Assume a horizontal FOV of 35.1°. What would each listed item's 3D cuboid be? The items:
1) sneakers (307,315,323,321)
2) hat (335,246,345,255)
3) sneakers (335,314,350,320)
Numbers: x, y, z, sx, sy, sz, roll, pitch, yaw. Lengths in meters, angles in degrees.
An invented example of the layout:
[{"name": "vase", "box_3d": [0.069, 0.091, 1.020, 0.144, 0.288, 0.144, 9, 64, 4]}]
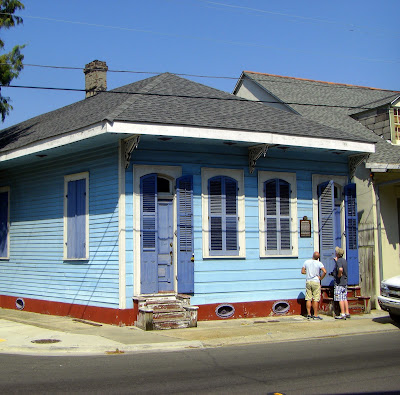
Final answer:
[{"name": "sneakers", "box_3d": [2.989, 3.169, 16.570, 0.413, 0.169, 0.144, 0, -5, 0]}, {"name": "hat", "box_3d": [3.766, 1.445, 17.021, 0.213, 0.268, 0.270, 0, 4, 3]}, {"name": "sneakers", "box_3d": [3.738, 3.147, 16.608, 0.390, 0.180, 0.135, 2, -4, 2]}]
